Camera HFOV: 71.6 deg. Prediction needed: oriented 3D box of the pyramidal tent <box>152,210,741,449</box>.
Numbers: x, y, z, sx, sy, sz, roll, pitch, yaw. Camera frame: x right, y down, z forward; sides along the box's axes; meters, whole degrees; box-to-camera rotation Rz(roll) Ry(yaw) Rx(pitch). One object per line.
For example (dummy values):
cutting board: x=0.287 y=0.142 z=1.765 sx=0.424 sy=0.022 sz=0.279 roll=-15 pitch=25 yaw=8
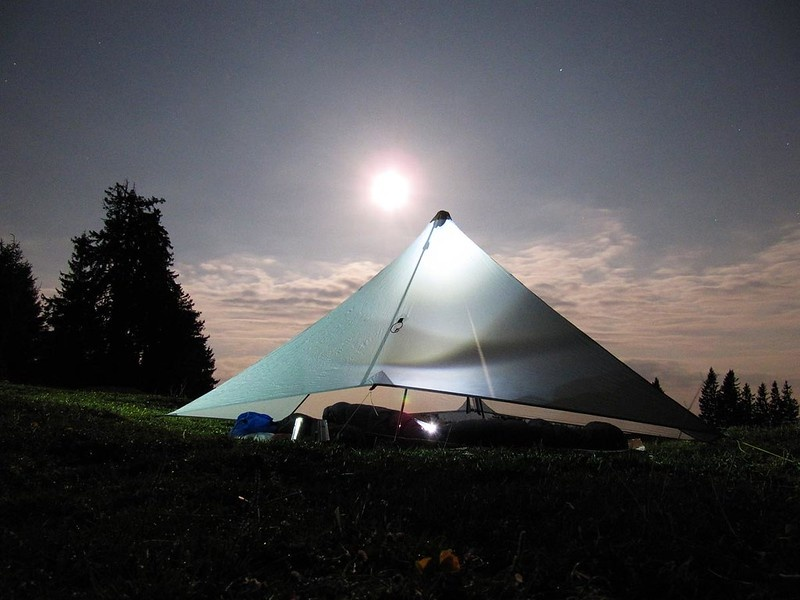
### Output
pyramidal tent: x=0.541 y=0.573 z=6.083 sx=3.668 sy=1.775 sz=3.566 roll=17 pitch=-23 yaw=-40
